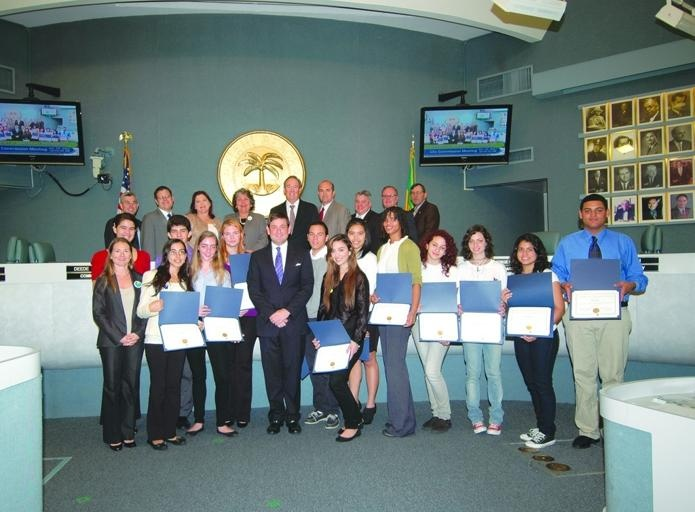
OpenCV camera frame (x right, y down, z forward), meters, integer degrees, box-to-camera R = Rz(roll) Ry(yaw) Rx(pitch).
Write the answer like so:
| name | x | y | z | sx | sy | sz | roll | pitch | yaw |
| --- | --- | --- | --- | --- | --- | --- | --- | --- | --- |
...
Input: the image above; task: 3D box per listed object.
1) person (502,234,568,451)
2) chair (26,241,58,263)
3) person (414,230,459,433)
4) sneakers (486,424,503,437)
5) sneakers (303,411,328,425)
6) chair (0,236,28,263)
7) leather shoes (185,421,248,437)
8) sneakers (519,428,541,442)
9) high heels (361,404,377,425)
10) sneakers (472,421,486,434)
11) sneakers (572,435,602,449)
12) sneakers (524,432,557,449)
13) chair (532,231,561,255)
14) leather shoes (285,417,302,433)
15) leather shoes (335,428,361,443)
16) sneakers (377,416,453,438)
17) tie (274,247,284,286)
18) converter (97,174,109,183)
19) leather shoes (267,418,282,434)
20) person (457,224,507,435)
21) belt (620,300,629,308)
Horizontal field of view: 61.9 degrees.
| name | x | y | z | sx | sy | sz | roll | pitch | yaw |
| --- | --- | --- | --- | --- | --- | --- | --- | --- | --- |
| person | 1.571 | 0.714 | 4.983 | 0.503 | 1.774 | 0.519 | 5 | 12 | 29 |
| chair | -3.881 | -0.053 | 7.335 | 0.126 | 0.231 | 0.250 | -16 | 4 | 16 |
| person | 0.800 | 0.681 | 5.287 | 0.392 | 1.834 | 0.523 | 0 | 10 | 6 |
| sneakers | 1.325 | 1.538 | 5.209 | 0.124 | 0.102 | 0.210 | 2 | 11 | 15 |
| sneakers | -0.298 | 1.552 | 5.535 | 0.087 | 0.101 | 0.246 | -9 | -16 | 41 |
| chair | -4.023 | -0.028 | 7.029 | 0.266 | 0.370 | 0.487 | 4 | 20 | -26 |
| leather shoes | -1.179 | 1.560 | 5.217 | 0.551 | 0.104 | 0.170 | 4 | 1 | 0 |
| sneakers | 1.567 | 1.542 | 4.998 | 0.069 | 0.079 | 0.191 | -3 | -5 | -31 |
| high heels | 0.206 | 1.490 | 5.430 | 0.145 | 0.129 | 0.408 | -2 | -4 | 8 |
| sneakers | 1.189 | 1.549 | 5.237 | 0.060 | 0.063 | 0.142 | -2 | 4 | -5 |
| sneakers | 2.037 | 1.572 | 4.906 | 0.242 | 0.108 | 0.091 | 7 | -6 | -11 |
| sneakers | 1.622 | 1.561 | 4.891 | 0.268 | 0.111 | 0.102 | 3 | -4 | -9 |
| chair | 2.124 | -0.137 | 6.167 | 0.269 | 0.410 | 0.335 | -1 | -3 | 25 |
| leather shoes | -0.482 | 1.525 | 5.235 | 0.134 | 0.126 | 0.127 | -2 | 11 | -7 |
| leather shoes | 0.003 | 1.562 | 5.098 | 0.210 | 0.095 | 0.225 | 2 | 11 | 13 |
| sneakers | 0.614 | 1.512 | 5.255 | 0.651 | 0.285 | 0.219 | 5 | -2 | -24 |
| tie | -0.612 | 0.077 | 5.201 | 0.085 | 0.308 | 0.124 | -2 | 10 | -8 |
| converter | -3.654 | -1.166 | 8.706 | 0.113 | 0.150 | 0.157 | -2 | 3 | -1 |
| leather shoes | -0.650 | 1.523 | 5.224 | 0.148 | 0.128 | 0.118 | -5 | 11 | -21 |
| person | 1.216 | 0.672 | 5.261 | 0.446 | 1.899 | 0.540 | 2 | 11 | 15 |
| belt | 2.368 | 0.403 | 4.956 | 0.054 | 0.074 | 0.099 | -4 | 1 | -17 |
